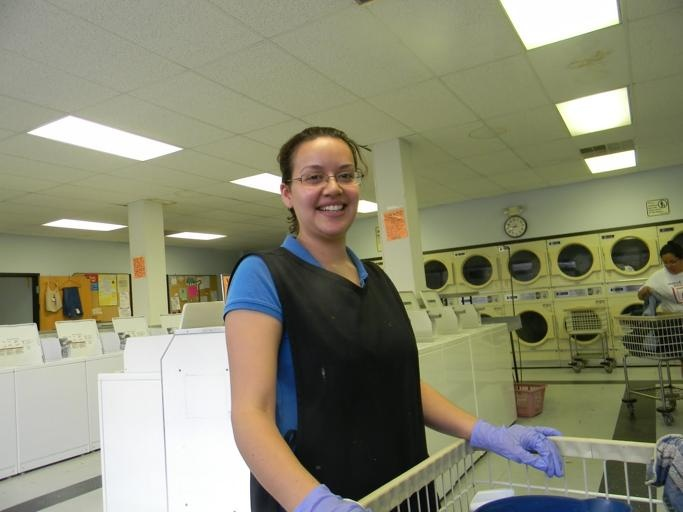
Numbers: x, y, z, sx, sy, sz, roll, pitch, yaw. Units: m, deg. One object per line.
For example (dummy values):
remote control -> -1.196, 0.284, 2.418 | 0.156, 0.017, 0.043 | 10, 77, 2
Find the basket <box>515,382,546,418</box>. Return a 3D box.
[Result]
basket -> 2.128, 1.665, 5.404 | 0.369, 0.339, 0.436 | -8, -15, 40
